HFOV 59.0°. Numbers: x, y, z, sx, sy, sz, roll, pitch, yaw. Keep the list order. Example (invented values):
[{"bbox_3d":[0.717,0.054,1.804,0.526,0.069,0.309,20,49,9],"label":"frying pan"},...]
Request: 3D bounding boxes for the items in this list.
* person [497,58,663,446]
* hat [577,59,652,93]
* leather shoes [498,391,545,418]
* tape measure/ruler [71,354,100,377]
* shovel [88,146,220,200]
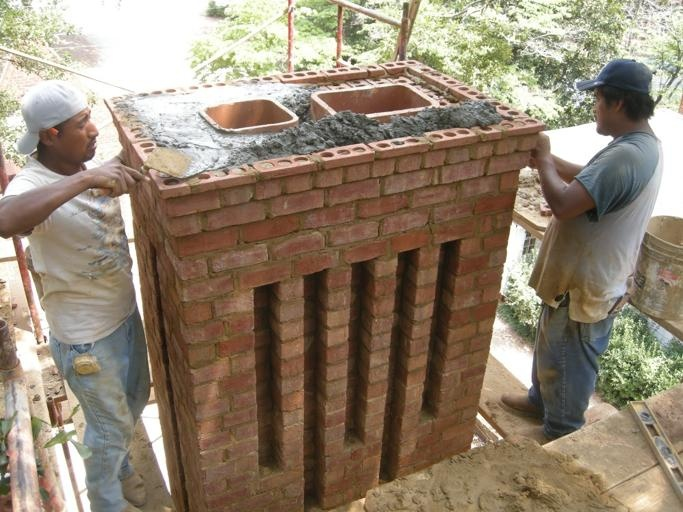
[{"bbox_3d":[1.759,0.093,4.392,0.756,2.790,0.848,19,34,24],"label":"person"},{"bbox_3d":[1.877,-1.209,4.161,0.524,0.222,0.310,11,5,21],"label":"hat"},{"bbox_3d":[1.523,1.251,5.124,0.347,0.129,0.143,21,38,26],"label":"leather shoes"},{"bbox_3d":[-1.626,0.692,3.821,0.156,0.120,0.078,4,12,-4],"label":"tape measure/ruler"},{"bbox_3d":[-0.835,-0.407,2.961,0.275,0.249,0.053,-15,64,-2],"label":"shovel"}]
